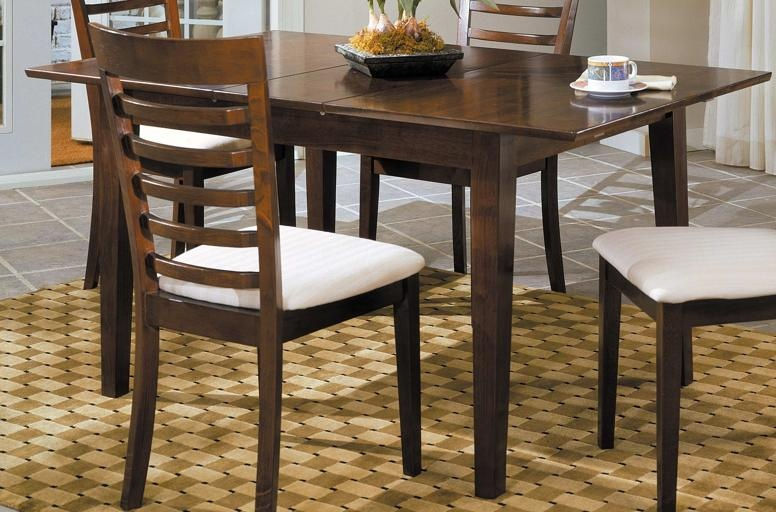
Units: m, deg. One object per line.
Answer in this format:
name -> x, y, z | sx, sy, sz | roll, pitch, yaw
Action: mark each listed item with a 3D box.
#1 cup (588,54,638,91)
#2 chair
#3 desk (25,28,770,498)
cup -> 0.626, -0.530, 2.066 | 0.202, 0.081, 0.135 | 6, 13, 30
chair -> -0.259, -0.161, 2.656 | 2.413, 0.896, 1.750 | 8, 16, 34
desk -> 0.330, -0.270, 2.683 | 2.938, 0.997, 1.866 | 9, 17, 36
